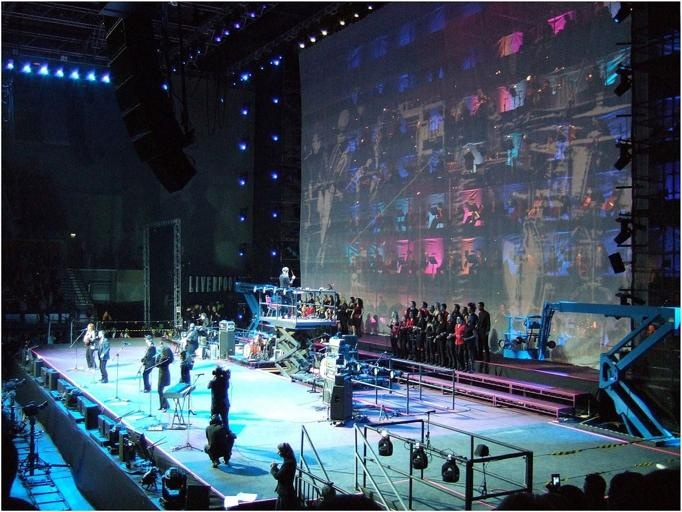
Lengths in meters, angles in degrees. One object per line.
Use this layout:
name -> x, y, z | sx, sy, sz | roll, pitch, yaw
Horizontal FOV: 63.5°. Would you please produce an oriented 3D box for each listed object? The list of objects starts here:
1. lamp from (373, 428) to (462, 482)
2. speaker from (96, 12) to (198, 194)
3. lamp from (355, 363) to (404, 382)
lamp -> 1.446, 3.944, 10.604 | 1.120, 0.981, 2.062 | 1, -2, -17
speaker -> -3.861, -3.173, 11.110 | 1.685, 3.671, 0.820 | 1, -1, -15
lamp -> 1.150, 4.009, 19.023 | 1.219, 0.534, 1.191 | 10, -11, -44
